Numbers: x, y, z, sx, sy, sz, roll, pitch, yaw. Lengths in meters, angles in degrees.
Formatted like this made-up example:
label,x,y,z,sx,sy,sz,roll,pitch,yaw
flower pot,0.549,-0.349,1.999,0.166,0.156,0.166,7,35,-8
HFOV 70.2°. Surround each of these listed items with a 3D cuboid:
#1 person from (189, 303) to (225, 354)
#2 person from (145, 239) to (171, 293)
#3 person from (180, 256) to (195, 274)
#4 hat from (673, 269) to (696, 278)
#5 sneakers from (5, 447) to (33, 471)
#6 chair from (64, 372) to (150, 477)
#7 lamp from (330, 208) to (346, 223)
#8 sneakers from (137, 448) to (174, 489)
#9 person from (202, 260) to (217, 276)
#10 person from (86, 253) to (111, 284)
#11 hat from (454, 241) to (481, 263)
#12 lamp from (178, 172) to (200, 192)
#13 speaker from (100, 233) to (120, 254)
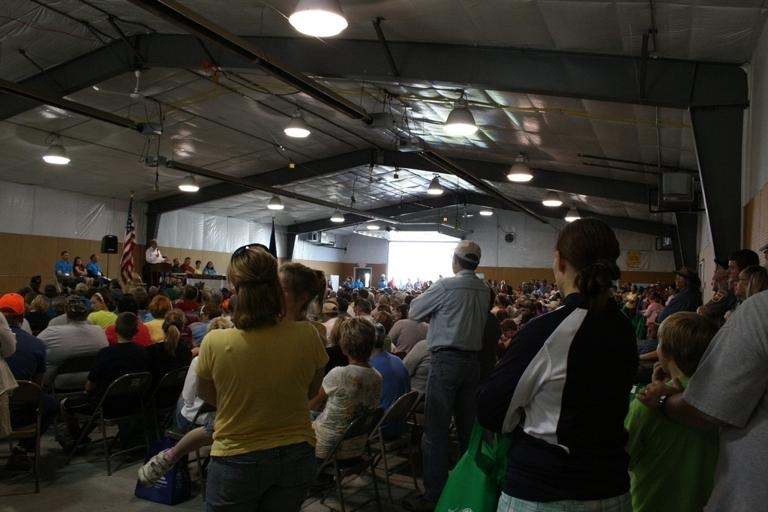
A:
label,x,y,z,sx,sy,sz,roll,pitch,yaw
person,-2.441,0.895,7.609,0.311,0.969,0.361,12,33,-3
person,-6.947,0.332,16.803,0.599,1.614,0.572,9,12,7
person,-7.194,0.340,20.114,0.480,0.780,0.554,-7,-2,-7
hat,4.615,0.262,8.398,0.211,0.058,0.209,8,5,3
sneakers,-3.980,2.242,6.046,0.233,0.251,0.287,10,-17,-32
chair,-3.161,1.889,6.307,0.784,1.037,0.645,-6,-9,20
lamp,-1.829,-1.681,22.282,0.616,0.577,0.595,8,-24,-5
sneakers,-1.509,1.432,3.706,0.223,0.257,0.162,2,-3,10
person,-6.942,0.472,21.821,0.532,0.929,0.310,3,-12,-38
person,-8.977,0.399,17.245,0.702,0.895,0.664,-11,-13,18
hat,0.834,-0.039,5.427,0.196,0.142,0.250,6,8,-15
lamp,-5.023,-1.939,14.237,0.367,0.446,0.842,3,-3,-17
speaker,-7.943,-0.363,15.993,0.370,0.462,0.359,3,-3,-17
